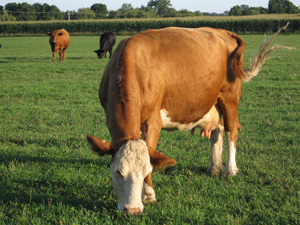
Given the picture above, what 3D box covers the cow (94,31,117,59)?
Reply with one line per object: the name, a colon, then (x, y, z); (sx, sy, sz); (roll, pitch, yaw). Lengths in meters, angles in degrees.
cow: (-3.226, -4.793, 31.179); (2.414, 1.604, 0.728); (-14, -6, 43)
